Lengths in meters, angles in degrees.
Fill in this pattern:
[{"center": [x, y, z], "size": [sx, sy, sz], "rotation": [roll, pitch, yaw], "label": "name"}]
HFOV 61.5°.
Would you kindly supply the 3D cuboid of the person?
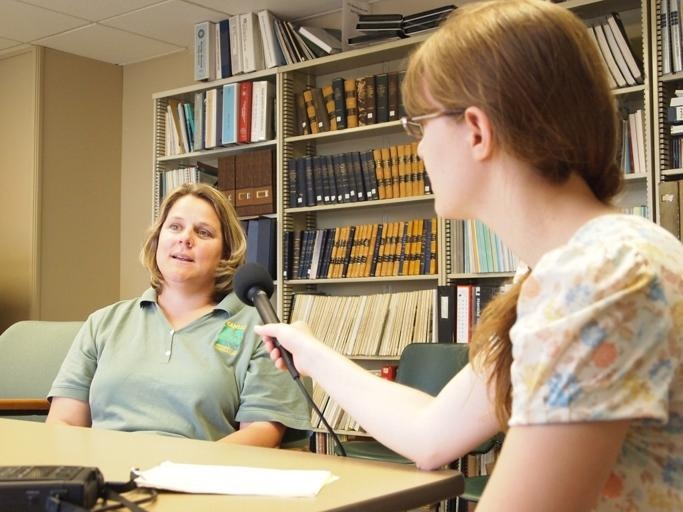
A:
[{"center": [-0.487, 0.214, 1.746], "size": [0.854, 0.860, 0.528], "rotation": [1, -8, 11], "label": "person"}]
